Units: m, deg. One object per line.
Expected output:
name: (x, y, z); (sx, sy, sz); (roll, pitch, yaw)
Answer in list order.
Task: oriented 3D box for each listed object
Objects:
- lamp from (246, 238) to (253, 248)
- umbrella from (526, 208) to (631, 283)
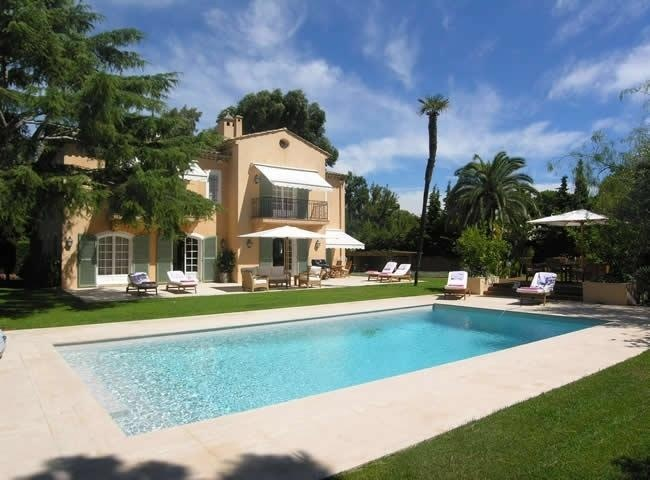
lamp: (-5.142, 0.246, 31.180); (0.404, 0.532, 0.451); (-1, 0, 25)
umbrella: (13.794, 0.060, 25.563); (2.762, 3.938, 5.489); (0, -4, 27)
